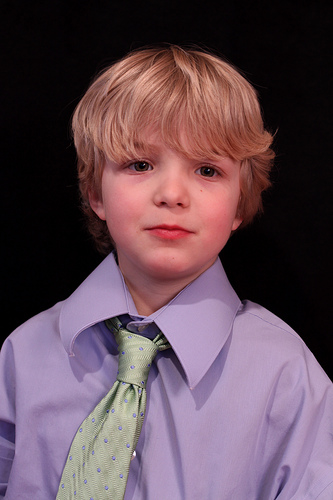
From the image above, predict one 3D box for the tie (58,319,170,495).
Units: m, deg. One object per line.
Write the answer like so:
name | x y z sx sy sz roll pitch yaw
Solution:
tie | -0.096 0.318 1.020 0.135 0.345 0.029 5 -35 21
